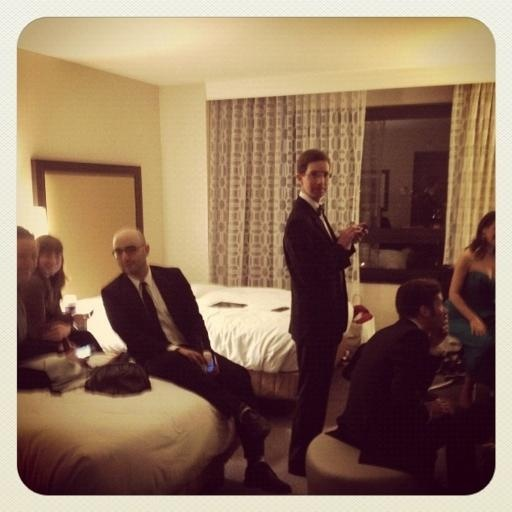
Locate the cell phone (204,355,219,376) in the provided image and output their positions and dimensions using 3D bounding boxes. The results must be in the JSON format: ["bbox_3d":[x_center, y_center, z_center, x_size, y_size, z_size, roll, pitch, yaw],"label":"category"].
[{"bbox_3d":[-0.144,0.351,1.600,0.034,0.065,0.040,3,-18,-5],"label":"cell phone"}]

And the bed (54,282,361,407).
[{"bbox_3d":[-0.170,0.194,1.611,0.637,0.223,0.423,1,3,15],"label":"bed"}]

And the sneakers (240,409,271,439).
[{"bbox_3d":[-0.003,0.528,1.633,0.104,0.076,0.068,8,24,29],"label":"sneakers"}]

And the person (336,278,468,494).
[{"bbox_3d":[0.540,0.449,1.696,0.388,0.786,0.285,-7,12,-9],"label":"person"}]

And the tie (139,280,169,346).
[{"bbox_3d":[-0.345,0.167,1.639,0.043,0.293,0.028,-19,3,0],"label":"tie"}]

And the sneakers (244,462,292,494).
[{"bbox_3d":[0.029,0.721,1.619,0.173,0.117,0.069,1,-3,2],"label":"sneakers"}]
